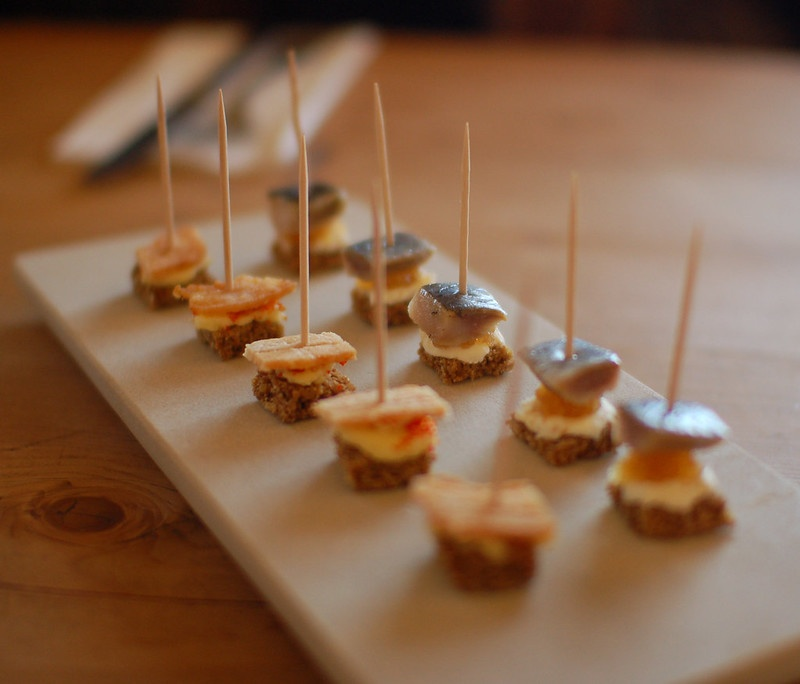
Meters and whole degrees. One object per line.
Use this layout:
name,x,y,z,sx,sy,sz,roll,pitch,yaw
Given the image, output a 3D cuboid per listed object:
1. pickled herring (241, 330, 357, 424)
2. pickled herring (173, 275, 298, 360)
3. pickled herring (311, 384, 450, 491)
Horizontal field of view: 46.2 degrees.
pickled herring,-0.248,0.023,2.326,0.272,0.186,0.224,-10,29,-27
pickled herring,-0.477,-0.098,2.639,0.331,0.214,0.224,-18,35,-34
pickled herring,-0.045,0.217,2.172,0.322,0.220,0.206,1,13,-21
